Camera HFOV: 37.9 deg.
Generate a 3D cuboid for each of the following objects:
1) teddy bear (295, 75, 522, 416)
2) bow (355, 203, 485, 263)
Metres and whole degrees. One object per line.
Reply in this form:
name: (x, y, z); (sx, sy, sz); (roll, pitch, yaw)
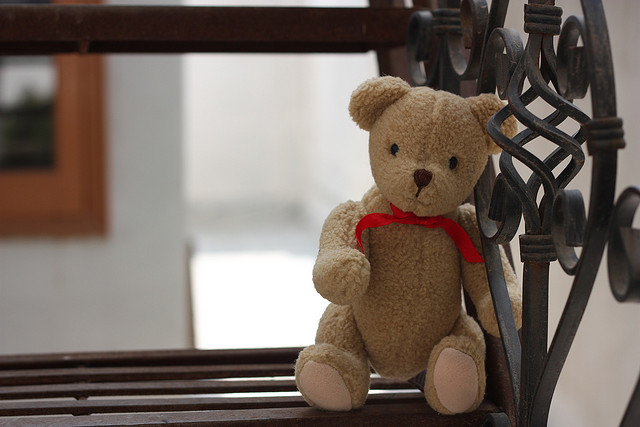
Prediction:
teddy bear: (0.176, 0.069, 2.038); (0.434, 0.720, 0.236); (2, 10, 11)
bow: (0.231, 0.025, 1.993); (0.212, 0.143, 0.176); (-2, 5, -15)
